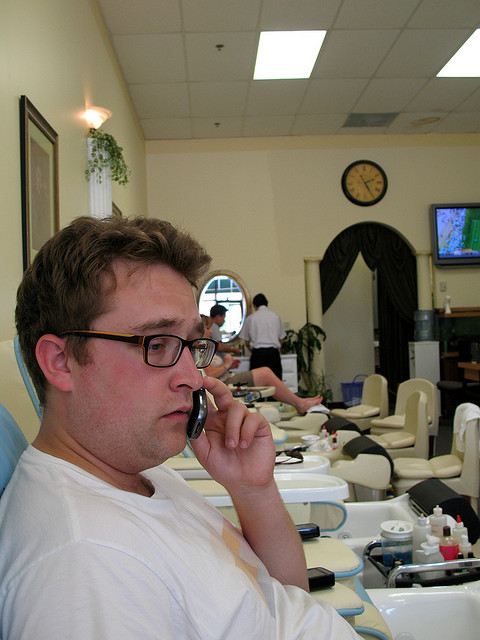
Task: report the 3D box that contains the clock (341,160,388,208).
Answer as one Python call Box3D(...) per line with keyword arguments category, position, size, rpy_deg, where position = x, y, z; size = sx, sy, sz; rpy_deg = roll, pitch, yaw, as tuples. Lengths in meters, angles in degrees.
Box3D(category="clock", position=(1.717, -1.888, 7.175), size=(0.627, 0.575, 0.617), rpy_deg=(1, 4, 21))

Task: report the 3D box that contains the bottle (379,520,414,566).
Box3D(category="bottle", position=(0.492, 0.711, 1.655), size=(0.101, 0.142, 0.093), rpy_deg=(-1, 22, 1))

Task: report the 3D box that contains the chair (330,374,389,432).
Box3D(category="chair", position=(1.042, 0.742, 4.508), size=(0.464, 0.495, 0.328), rpy_deg=(-4, 0, -23))

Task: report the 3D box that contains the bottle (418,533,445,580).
Box3D(category="bottle", position=(0.575, 0.722, 1.541), size=(0.072, 0.178, 0.061), rpy_deg=(-9, 10, 19))

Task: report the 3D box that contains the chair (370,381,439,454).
Box3D(category="chair", position=(1.147, 0.846, 4.240), size=(0.689, 0.505, 0.455), rpy_deg=(-8, -13, 15))

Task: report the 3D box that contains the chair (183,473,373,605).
Box3D(category="chair", position=(0.093, 0.540, 1.411), size=(0.439, 0.399, 0.463), rpy_deg=(-1, 2, 0))

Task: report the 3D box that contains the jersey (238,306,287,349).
Box3D(category="jersey", position=(0.300, 0.112, 6.436), size=(0.586, 0.551, 0.320), rpy_deg=(-3, -1, -10))

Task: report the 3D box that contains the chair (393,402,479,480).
Box3D(category="chair", position=(1.087, 0.658, 2.908), size=(0.504, 0.499, 0.326), rpy_deg=(0, -2, 0))

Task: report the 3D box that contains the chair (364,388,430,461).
Box3D(category="chair", position=(1.049, 0.715, 3.536), size=(0.410, 0.465, 0.309), rpy_deg=(-2, -1, 5))
